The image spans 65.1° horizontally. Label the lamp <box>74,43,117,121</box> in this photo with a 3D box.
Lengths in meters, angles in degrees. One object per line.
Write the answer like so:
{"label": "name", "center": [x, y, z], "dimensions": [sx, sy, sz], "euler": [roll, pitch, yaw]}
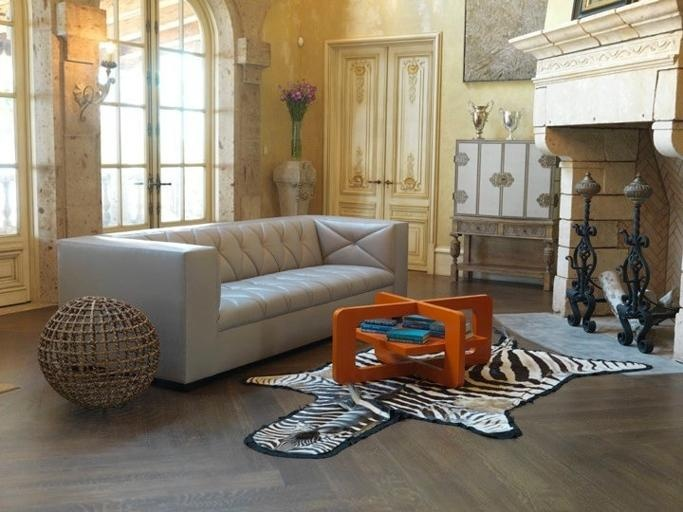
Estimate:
{"label": "lamp", "center": [-2.317, -1.630, 5.104], "dimensions": [0.386, 0.808, 0.216], "euler": [-6, 30, -30]}

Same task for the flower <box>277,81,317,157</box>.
{"label": "flower", "center": [-0.558, -1.821, 7.210], "dimensions": [0.480, 1.057, 0.403], "euler": [-7, 13, -36]}
